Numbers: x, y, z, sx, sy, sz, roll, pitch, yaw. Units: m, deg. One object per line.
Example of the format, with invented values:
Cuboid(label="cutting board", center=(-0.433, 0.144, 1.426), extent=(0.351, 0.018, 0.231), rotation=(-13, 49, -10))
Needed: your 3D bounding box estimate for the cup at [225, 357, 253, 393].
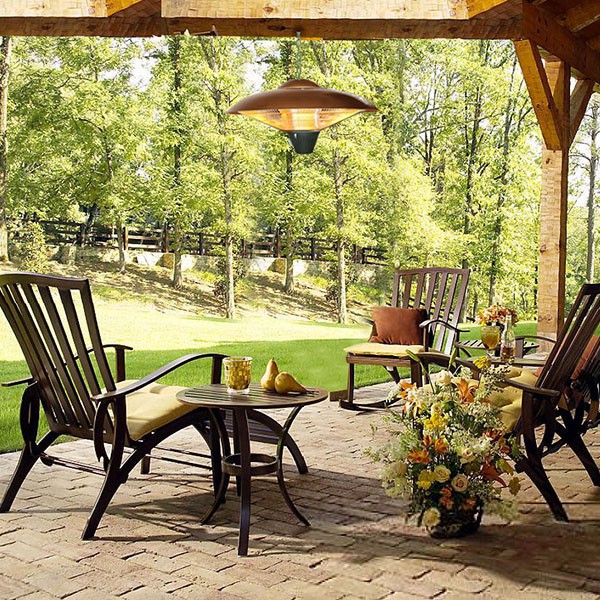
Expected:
Cuboid(label="cup", center=(-0.234, 0.330, 2.559), extent=(0.156, 0.147, 0.145), rotation=(0, -6, 0))

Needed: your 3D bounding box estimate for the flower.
Cuboid(label="flower", center=(0.642, 0.611, 2.570), extent=(0.703, 0.696, 0.731), rotation=(1, -3, -15))

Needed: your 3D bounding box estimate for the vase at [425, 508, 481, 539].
Cuboid(label="vase", center=(0.628, 0.901, 2.380), extent=(0.181, 0.111, 0.120), rotation=(2, -6, -29))

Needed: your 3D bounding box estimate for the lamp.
Cuboid(label="lamp", center=(0.001, -1.153, 3.573), extent=(0.837, 0.329, 0.821), rotation=(-1, -1, 38))
